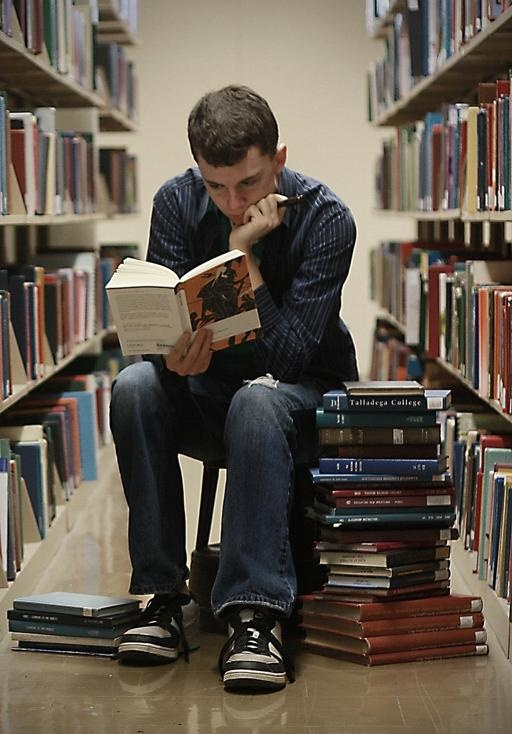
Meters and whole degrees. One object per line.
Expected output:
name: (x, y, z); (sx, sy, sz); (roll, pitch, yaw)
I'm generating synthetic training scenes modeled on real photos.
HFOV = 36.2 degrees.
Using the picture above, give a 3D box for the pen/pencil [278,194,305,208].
pen/pencil: (0.063, -0.300, 1.456); (0.020, 0.019, 0.089); (22, -7, -27)

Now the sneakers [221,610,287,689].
sneakers: (-0.006, 0.455, 1.255); (0.117, 0.102, 0.138); (0, 0, 4)

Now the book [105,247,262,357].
book: (-0.123, -0.103, 1.317); (0.273, 0.166, 0.109); (-6, 35, 0)

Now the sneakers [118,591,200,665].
sneakers: (-0.165, 0.458, 1.355); (0.067, 0.090, 0.185); (-2, -14, 10)
